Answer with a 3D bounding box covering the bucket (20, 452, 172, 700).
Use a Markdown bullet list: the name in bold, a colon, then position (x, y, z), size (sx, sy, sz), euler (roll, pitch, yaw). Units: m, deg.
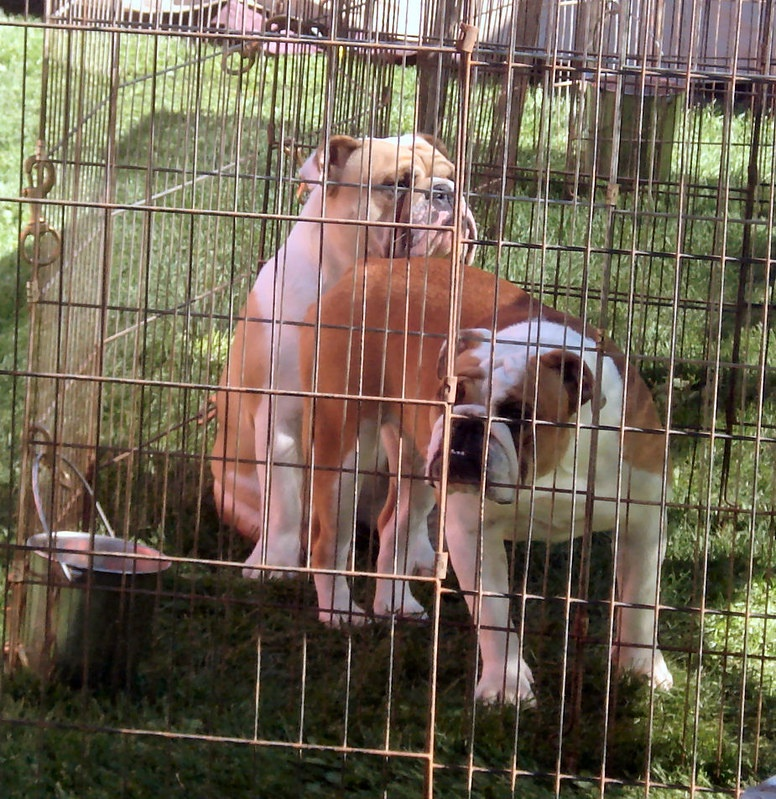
- **bucket**: position (-1.258, 0.720, 7.676), size (0.527, 1.229, 0.688), euler (2, 7, 1)
